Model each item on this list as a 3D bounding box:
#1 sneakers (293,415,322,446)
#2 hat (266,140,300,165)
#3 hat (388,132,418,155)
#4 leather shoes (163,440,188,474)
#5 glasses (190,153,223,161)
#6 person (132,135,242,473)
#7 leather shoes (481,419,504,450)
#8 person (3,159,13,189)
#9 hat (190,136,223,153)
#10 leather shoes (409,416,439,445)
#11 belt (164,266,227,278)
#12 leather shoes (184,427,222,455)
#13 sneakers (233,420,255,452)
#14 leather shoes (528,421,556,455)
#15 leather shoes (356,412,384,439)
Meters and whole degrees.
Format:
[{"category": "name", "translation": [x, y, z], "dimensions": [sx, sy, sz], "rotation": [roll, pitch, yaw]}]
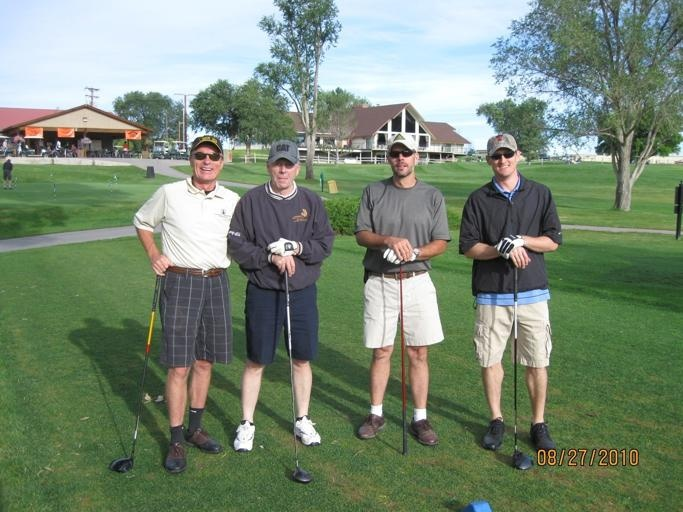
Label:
[{"category": "sneakers", "translation": [-0.311, 1.592, 4.579], "dimensions": [0.151, 0.151, 0.298], "rotation": [-1, 1, -28]}, {"category": "hat", "translation": [-0.528, -0.930, 4.528], "dimensions": [0.285, 0.221, 0.286], "rotation": [-1, 12, -9]}, {"category": "hat", "translation": [0.619, -1.072, 4.788], "dimensions": [0.250, 0.180, 0.435], "rotation": [10, 15, 40]}, {"category": "leather shoes", "translation": [-1.410, 1.685, 4.201], "dimensions": [0.186, 0.161, 0.240], "rotation": [-3, 12, -16]}, {"category": "glasses", "translation": [-1.194, -0.869, 4.403], "dimensions": [0.241, 0.074, 0.085], "rotation": [-3, 12, -16]}, {"category": "person", "translation": [-1.318, 0.343, 4.425], "dimensions": [0.820, 2.731, 0.940], "rotation": [-5, 12, -23]}, {"category": "leather shoes", "translation": [1.384, 1.613, 4.513], "dimensions": [0.120, 0.154, 0.331], "rotation": [2, -8, 28]}, {"category": "person", "translation": [-18.981, -4.679, 28.179], "dimensions": [0.490, 1.477, 3.873], "rotation": [-7, 14, -34]}, {"category": "hat", "translation": [-1.192, -0.976, 4.385], "dimensions": [0.262, 0.152, 0.288], "rotation": [-3, 12, -17]}, {"category": "leather shoes", "translation": [0.756, 1.617, 4.612], "dimensions": [0.119, 0.119, 0.269], "rotation": [-3, 3, -30]}, {"category": "belt", "translation": [-1.309, 0.135, 4.435], "dimensions": [0.497, 0.103, 0.138], "rotation": [-3, 12, -16]}, {"category": "leather shoes", "translation": [-1.247, 1.654, 4.501], "dimensions": [0.329, 0.147, 0.158], "rotation": [11, 8, 26]}, {"category": "sneakers", "translation": [-0.875, 1.604, 4.427], "dimensions": [0.141, 0.121, 0.277], "rotation": [3, -2, -5]}, {"category": "leather shoes", "translation": [1.820, 1.626, 4.469], "dimensions": [0.207, 0.183, 0.303], "rotation": [4, 12, 17]}, {"category": "leather shoes", "translation": [0.276, 1.609, 4.731], "dimensions": [0.128, 0.139, 0.294], "rotation": [-2, -7, 34]}]
